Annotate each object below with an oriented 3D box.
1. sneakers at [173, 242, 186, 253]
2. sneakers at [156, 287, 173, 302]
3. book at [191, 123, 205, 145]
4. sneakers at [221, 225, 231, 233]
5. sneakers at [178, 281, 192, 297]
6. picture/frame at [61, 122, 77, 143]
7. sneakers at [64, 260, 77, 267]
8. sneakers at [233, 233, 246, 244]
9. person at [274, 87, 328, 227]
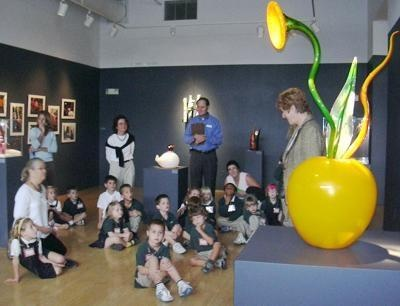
[{"bbox_3d":[-0.257,1.169,4.136,0.082,0.074,0.158,-9,2,-27],"label":"sneakers"},{"bbox_3d":[-0.313,1.262,3.020,0.157,0.132,0.126,-2,5,-11],"label":"sneakers"},{"bbox_3d":[-0.027,-0.378,5.550,0.233,0.404,0.071,0,3,15],"label":"book"},{"bbox_3d":[0.381,1.130,4.991,0.109,0.074,0.045,2,-40,1],"label":"sneakers"},{"bbox_3d":[-0.132,1.249,3.118,0.152,0.132,0.146,-2,5,-9],"label":"sneakers"},{"bbox_3d":[-2.900,-0.444,7.358,0.028,0.479,0.431,-2,-2,20],"label":"picture/frame"},{"bbox_3d":[-1.440,1.221,3.708,0.086,0.046,0.124,2,-2,-15],"label":"sneakers"},{"bbox_3d":[0.545,1.144,4.483,0.179,0.203,0.096,-8,-20,24],"label":"sneakers"},{"bbox_3d":[0.702,0.046,2.310,0.325,0.974,0.526,0,5,12],"label":"person"}]
